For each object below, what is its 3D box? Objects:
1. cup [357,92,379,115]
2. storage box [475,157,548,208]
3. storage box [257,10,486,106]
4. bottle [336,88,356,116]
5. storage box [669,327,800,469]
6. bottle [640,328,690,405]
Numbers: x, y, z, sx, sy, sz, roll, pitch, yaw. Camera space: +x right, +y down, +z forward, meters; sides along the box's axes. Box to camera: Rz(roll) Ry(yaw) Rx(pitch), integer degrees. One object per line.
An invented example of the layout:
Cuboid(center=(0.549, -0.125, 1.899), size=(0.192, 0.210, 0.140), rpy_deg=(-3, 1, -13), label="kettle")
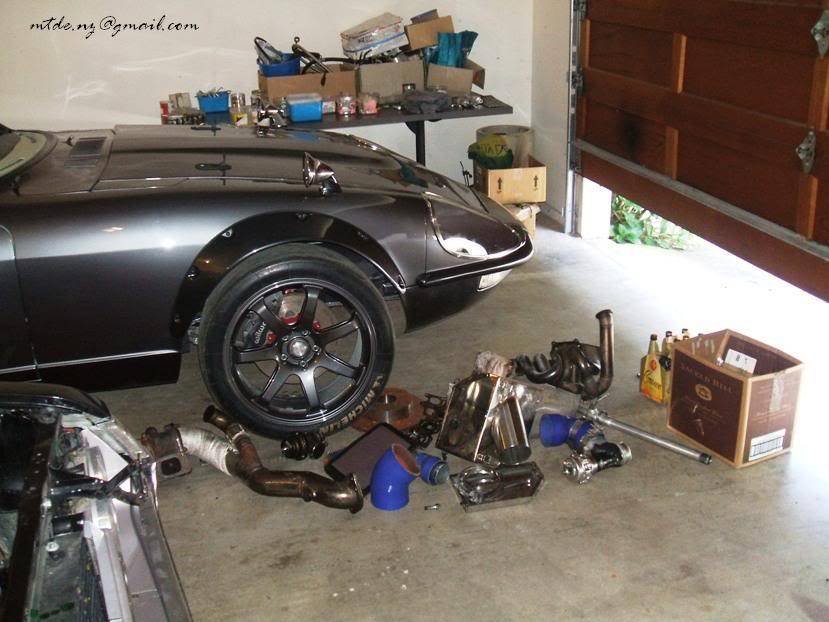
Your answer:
Cuboid(center=(-0.392, -1.743, 5.105), size=(0.180, 0.128, 0.169), rpy_deg=(0, 29, 0), label="cup")
Cuboid(center=(1.059, -1.106, 5.454), size=(0.592, 0.307, 0.593), rpy_deg=(6, 7, 28), label="storage box")
Cuboid(center=(-0.343, -2.171, 5.460), size=(1.943, 0.664, 0.923), rpy_deg=(-4, 32, -8), label="storage box")
Cuboid(center=(-0.560, -1.779, 5.171), size=(0.200, 0.206, 0.196), rpy_deg=(-2, 31, -3), label="bottle")
Cuboid(center=(1.568, 0.413, 2.959), size=(0.457, 0.491, 0.567), rpy_deg=(-15, 22, -23), label="storage box")
Cuboid(center=(1.318, 0.310, 3.204), size=(0.200, 0.347, 0.263), rpy_deg=(8, 34, 22), label="bottle")
